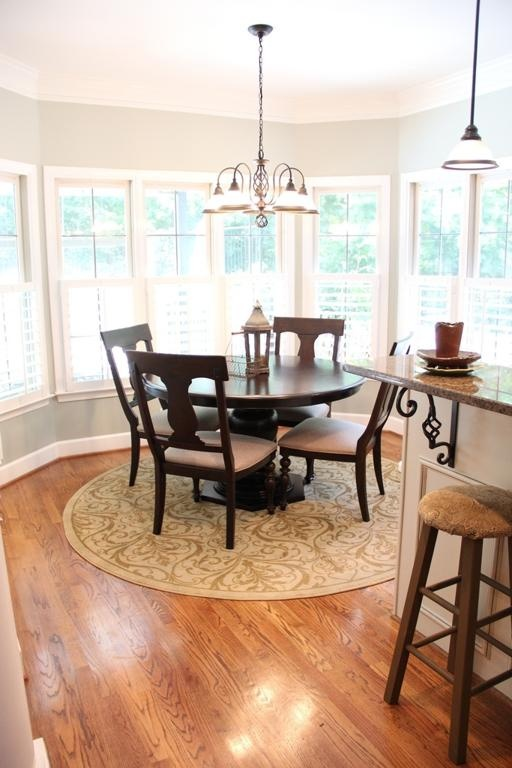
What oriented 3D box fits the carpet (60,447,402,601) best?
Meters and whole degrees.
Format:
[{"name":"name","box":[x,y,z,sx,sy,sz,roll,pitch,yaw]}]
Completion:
[{"name":"carpet","box":[-0.162,0.677,2.810,1.692,0.080,1.396,1,8,16]}]

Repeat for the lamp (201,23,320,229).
[{"name":"lamp","box":[0.034,-1.314,2.895,0.572,1.013,0.586,-1,13,-4]}]

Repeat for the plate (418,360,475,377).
[{"name":"plate","box":[0.471,-0.041,1.449,0.137,0.025,0.191,-7,10,-40]}]
